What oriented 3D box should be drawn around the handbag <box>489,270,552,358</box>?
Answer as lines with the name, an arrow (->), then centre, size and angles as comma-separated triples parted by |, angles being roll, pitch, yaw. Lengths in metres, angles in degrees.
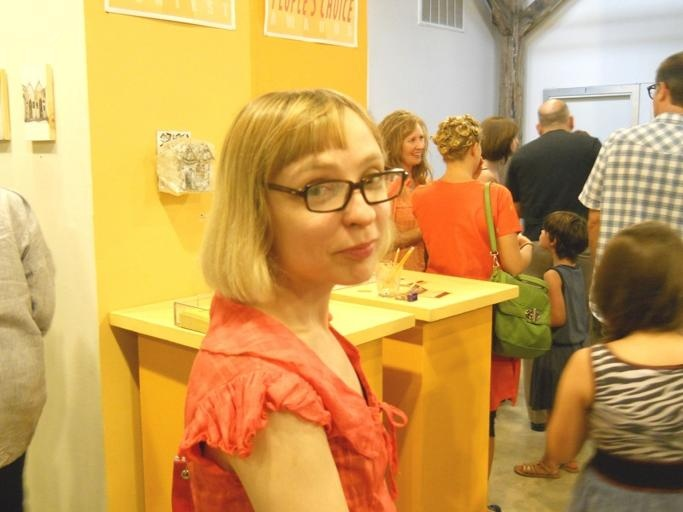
handbag -> 0.911, 0.304, 2.975 | 0.385, 0.502, 0.263 | 5, -11, -31

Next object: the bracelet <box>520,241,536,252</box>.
bracelet -> 1.084, -0.063, 3.363 | 0.060, 0.048, 0.063 | 7, 4, -4

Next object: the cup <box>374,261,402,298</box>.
cup -> 0.223, 0.107, 2.736 | 0.125, 0.159, 0.139 | 1, -3, 10

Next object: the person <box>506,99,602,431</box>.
person -> 1.909, -0.214, 5.139 | 0.773, 2.475, 0.706 | -8, 32, 10
